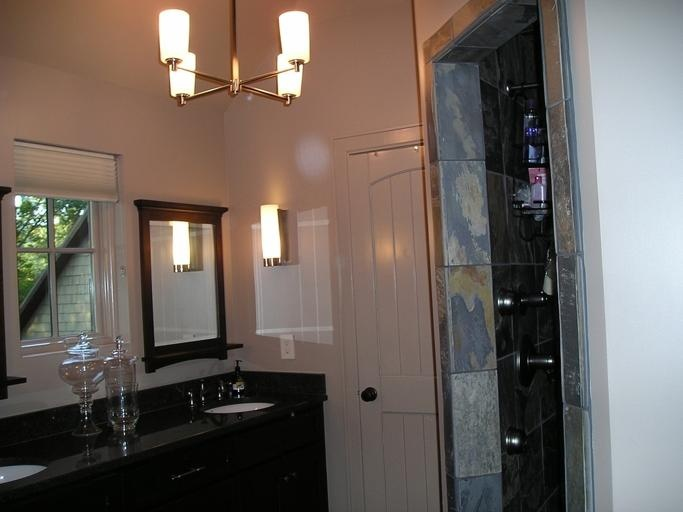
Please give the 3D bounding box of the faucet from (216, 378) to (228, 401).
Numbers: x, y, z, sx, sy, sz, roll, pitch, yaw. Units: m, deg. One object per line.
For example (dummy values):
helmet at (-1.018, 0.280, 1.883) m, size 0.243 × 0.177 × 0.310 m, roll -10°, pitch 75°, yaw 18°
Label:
faucet at (-0.768, 0.856, 3.659) m, size 0.081 × 0.161 × 0.082 m, roll -7°, pitch -12°, yaw 34°

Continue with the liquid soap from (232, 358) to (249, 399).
liquid soap at (-0.667, 0.795, 3.719) m, size 0.099 × 0.210 × 0.238 m, roll -3°, pitch -3°, yaw -10°

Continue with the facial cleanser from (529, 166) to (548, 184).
facial cleanser at (0.921, -0.379, 2.665) m, size 0.081 × 0.056 × 0.034 m, roll -5°, pitch -3°, yaw 18°

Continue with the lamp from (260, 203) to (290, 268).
lamp at (-0.453, -0.135, 3.653) m, size 0.219 × 0.379 × 0.105 m, roll -5°, pitch -3°, yaw 31°
